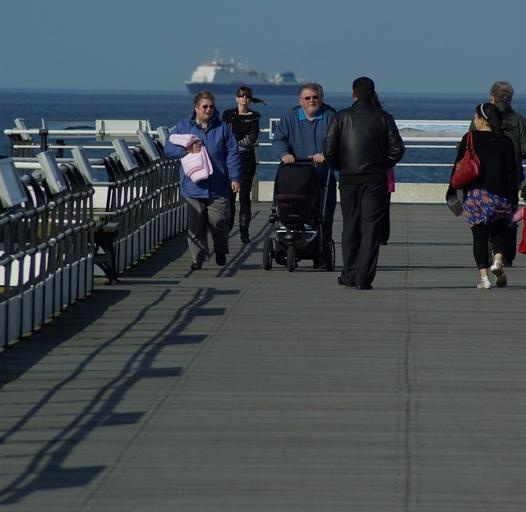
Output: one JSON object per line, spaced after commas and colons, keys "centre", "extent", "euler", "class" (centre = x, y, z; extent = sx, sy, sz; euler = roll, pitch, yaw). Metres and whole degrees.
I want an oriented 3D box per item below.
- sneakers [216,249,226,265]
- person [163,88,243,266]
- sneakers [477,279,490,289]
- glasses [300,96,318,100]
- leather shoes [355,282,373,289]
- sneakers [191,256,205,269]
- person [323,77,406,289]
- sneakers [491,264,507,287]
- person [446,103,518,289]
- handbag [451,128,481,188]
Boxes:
{"centre": [-0.344, 0.011, 12.334], "extent": [0.061, 0.116, 0.076], "euler": [-3, 5, -7], "class": "sneakers"}
{"centre": [-0.484, -0.598, 12.055], "extent": [0.592, 1.452, 0.715], "euler": [0, 8, -2], "class": "person"}
{"centre": [1.581, 0.206, 11.078], "extent": [0.061, 0.071, 0.161], "euler": [1, 2, 8], "class": "sneakers"}
{"centre": [0.357, -1.225, 11.719], "extent": [0.110, 0.039, 0.065], "euler": [1, 9, -2], "class": "glasses"}
{"centre": [0.710, 0.214, 10.937], "extent": [0.118, 0.055, 0.040], "euler": [-4, 8, -37], "class": "leather shoes"}
{"centre": [-0.521, 0.050, 12.158], "extent": [0.054, 0.072, 0.167], "euler": [4, 16, 8], "class": "sneakers"}
{"centre": [0.723, -0.515, 10.931], "extent": [0.541, 1.535, 0.343], "euler": [6, 9, 35], "class": "person"}
{"centre": [1.664, 0.130, 11.018], "extent": [0.080, 0.219, 0.095], "euler": [-6, 52, 24], "class": "sneakers"}
{"centre": [1.565, -0.440, 11.049], "extent": [0.512, 1.353, 0.543], "euler": [2, 8, 7], "class": "person"}
{"centre": [1.475, -0.723, 10.977], "extent": [0.121, 0.481, 0.352], "euler": [-3, -27, 17], "class": "handbag"}
